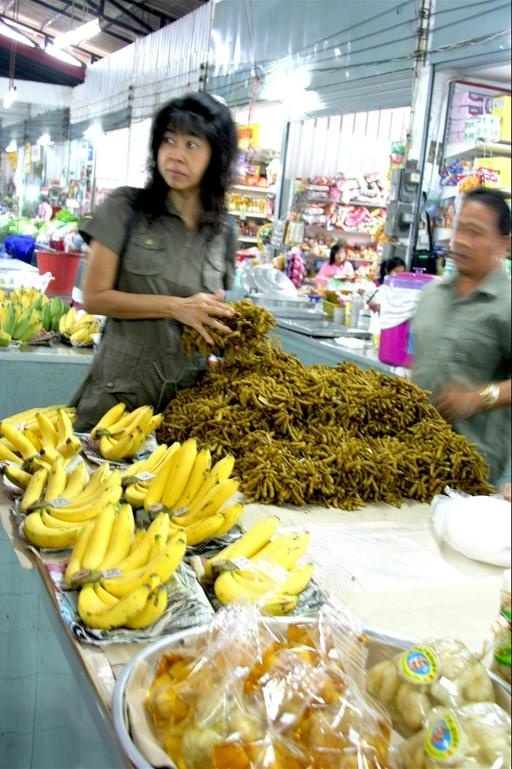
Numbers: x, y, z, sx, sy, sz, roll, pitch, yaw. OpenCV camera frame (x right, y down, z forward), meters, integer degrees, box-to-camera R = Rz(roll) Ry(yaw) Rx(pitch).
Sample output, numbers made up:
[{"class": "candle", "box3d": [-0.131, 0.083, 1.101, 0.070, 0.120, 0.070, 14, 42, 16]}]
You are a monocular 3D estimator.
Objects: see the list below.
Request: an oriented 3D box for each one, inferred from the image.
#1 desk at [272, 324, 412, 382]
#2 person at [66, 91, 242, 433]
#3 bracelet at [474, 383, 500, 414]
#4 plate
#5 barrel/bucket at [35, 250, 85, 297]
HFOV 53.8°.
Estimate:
[{"class": "desk", "box3d": [0.652, -0.272, 4.069, 0.504, 0.224, 0.928, -3, 17, -28]}, {"class": "person", "box3d": [-0.417, -0.490, 2.102, 0.657, 1.409, 0.579, 6, 10, -5]}, {"class": "bracelet", "box3d": [0.725, 0.038, 1.565, 0.043, 0.076, 0.067, 7, 10, 3]}, {"class": "plate", "box3d": [0.538, 0.344, 1.278, 0.178, 0.128, 0.324, 11, 11, 20]}, {"class": "barrel/bucket", "box3d": [-2.185, -1.169, 5.678, 0.566, 0.569, 0.564, 9, 7, -1]}]
